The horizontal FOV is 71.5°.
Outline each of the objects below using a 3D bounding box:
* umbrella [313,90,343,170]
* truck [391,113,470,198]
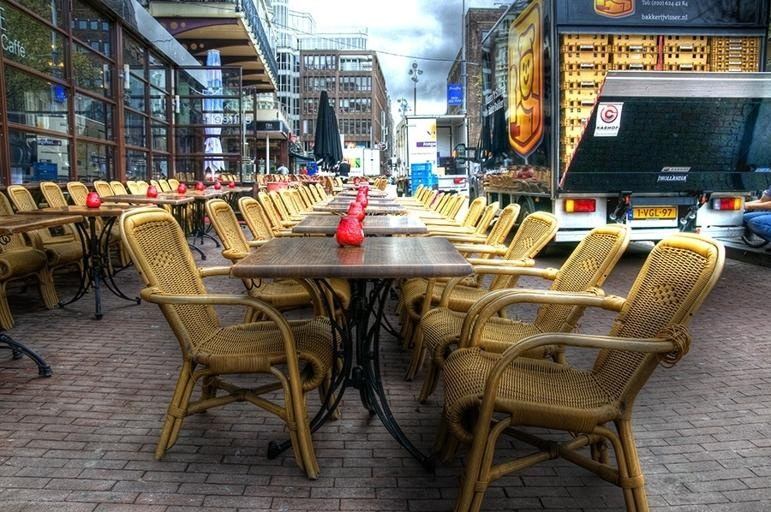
[{"bbox_3d":[-2.351,-5.011,21.519,1.033,3.263,2.015,-4,18,-4],"label":"umbrella"},{"bbox_3d":[2.505,-4.848,24.818,3.230,3.020,5.705,1,10,-3],"label":"truck"}]
